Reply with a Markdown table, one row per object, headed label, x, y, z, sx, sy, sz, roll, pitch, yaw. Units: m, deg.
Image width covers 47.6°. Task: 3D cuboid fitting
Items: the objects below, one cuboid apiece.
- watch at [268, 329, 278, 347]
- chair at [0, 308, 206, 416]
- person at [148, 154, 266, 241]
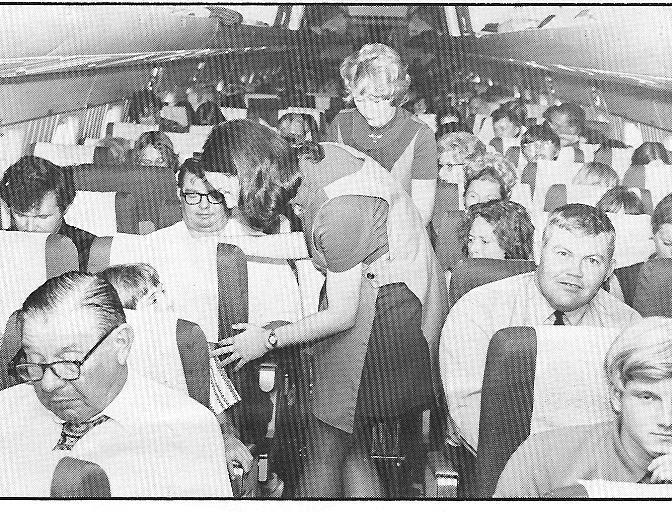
| label | x | y | z | sx | sy | sz | roll | pitch | yaw |
| --- | --- | --- | --- | --- | --- | --- | --- | --- | --- |
| watch | -0.362 | 0.480 | 4.378 | 0.069 | 0.091 | 0.089 | 0 | 23 | -1 |
| chair | -1.191 | 0.570 | 4.607 | 0.663 | 0.437 | 0.798 | -3 | 5 | -28 |
| person | -0.719 | -0.215 | 4.507 | 0.829 | 0.455 | 0.457 | -2 | -3 | -6 |
